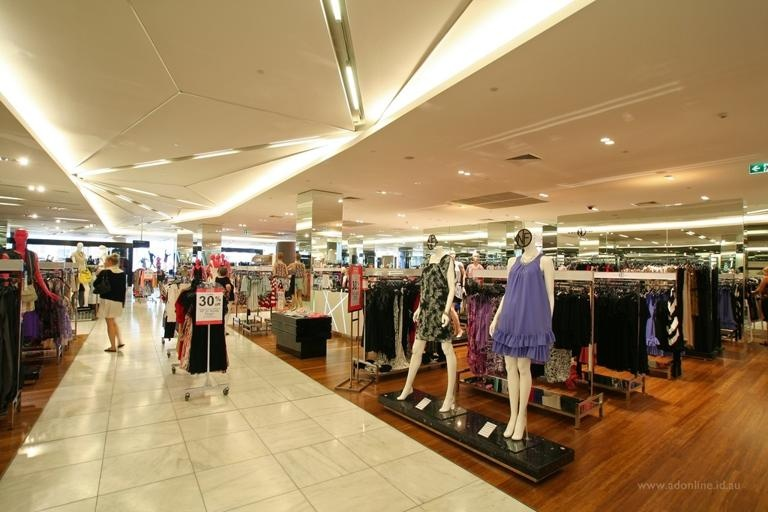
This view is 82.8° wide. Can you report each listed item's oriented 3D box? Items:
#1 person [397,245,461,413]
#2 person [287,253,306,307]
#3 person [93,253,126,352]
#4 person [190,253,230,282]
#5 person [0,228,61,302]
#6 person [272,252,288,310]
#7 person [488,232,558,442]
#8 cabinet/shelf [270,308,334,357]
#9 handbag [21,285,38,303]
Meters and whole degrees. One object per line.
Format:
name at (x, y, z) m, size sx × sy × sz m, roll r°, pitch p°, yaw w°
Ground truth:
person at (0.781, 1.045, 6.268) m, size 0.825 × 2.242 × 0.742 m, roll 11°, pitch 18°, yaw 36°
person at (-2.591, 0.741, 12.893) m, size 0.510 × 1.823 × 0.823 m, roll -3°, pitch 15°, yaw -13°
person at (-5.771, 0.962, 9.289) m, size 0.559 × 2.203 × 1.041 m, roll -8°, pitch 17°, yaw -32°
person at (-4.819, 0.305, 12.085) m, size 0.778 × 0.362 × 1.076 m, roll -2°, pitch 3°, yaw -42°
person at (-5.847, 0.148, 7.053) m, size 1.338 × 1.138 × 0.367 m, roll 4°, pitch 0°, yaw -6°
person at (-3.111, 0.832, 13.134) m, size 0.422 × 1.828 × 1.249 m, roll -3°, pitch 15°, yaw -14°
person at (1.749, 0.974, 5.577) m, size 0.769 × 2.543 × 0.893 m, roll 11°, pitch 17°, yaw 34°
cabinet/shelf at (-1.500, 1.724, 9.232) m, size 0.936 × 0.560 × 0.481 m, roll -13°, pitch -16°, yaw -29°
handbag at (-5.579, 0.604, 6.852) m, size 0.156 × 0.383 × 0.477 m, roll -10°, pitch 18°, yaw -37°
